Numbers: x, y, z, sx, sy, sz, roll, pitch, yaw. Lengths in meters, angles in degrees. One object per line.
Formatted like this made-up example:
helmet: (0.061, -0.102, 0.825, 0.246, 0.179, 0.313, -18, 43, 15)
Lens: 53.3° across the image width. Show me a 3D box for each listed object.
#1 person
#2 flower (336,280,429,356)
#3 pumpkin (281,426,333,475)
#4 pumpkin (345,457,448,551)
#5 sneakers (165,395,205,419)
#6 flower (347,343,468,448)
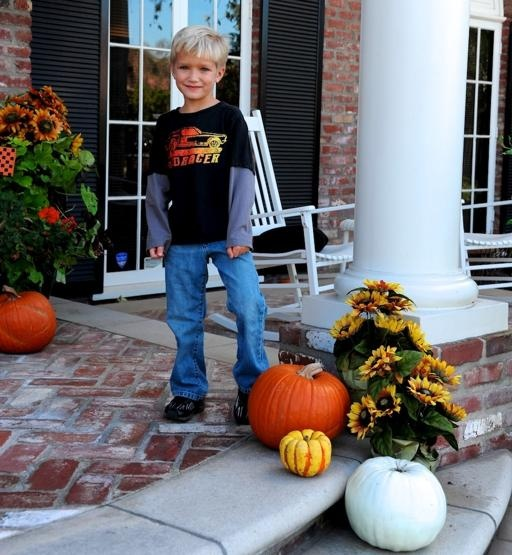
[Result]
person: (-0.149, -0.171, 1.701, 0.481, 1.194, 0.314, 4, 7, 29)
flower: (0.353, 0.121, 1.446, 0.273, 0.218, 0.174, 1, -4, 16)
pumpkin: (0.137, 0.432, 1.258, 0.155, 0.096, 0.137, 3, -4, -12)
pumpkin: (0.309, 0.518, 1.145, 0.212, 0.187, 0.128, 1, -4, 9)
sneakers: (-0.252, 0.457, 1.816, 0.064, 0.061, 0.152, 2, -4, 20)
flower: (0.387, 0.309, 1.311, 0.294, 0.266, 0.133, 2, -4, -6)
